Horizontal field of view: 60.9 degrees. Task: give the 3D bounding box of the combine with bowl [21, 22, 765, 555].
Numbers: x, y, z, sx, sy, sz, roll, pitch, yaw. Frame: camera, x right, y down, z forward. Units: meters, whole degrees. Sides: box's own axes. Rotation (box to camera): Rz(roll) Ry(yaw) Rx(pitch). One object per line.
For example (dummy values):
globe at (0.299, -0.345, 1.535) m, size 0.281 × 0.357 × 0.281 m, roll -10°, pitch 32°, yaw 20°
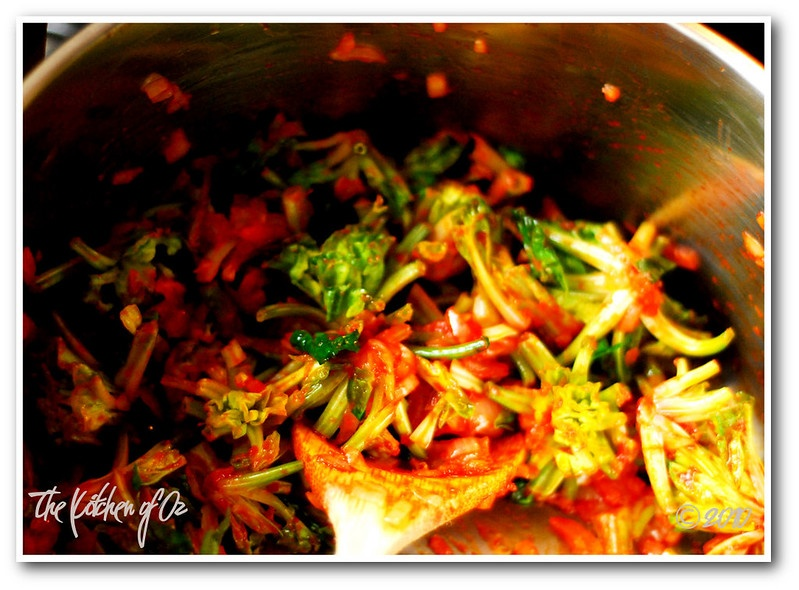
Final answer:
combine with bowl at (-0.010, -0.006, 0.993) m, size 1.065 × 0.750 × 0.427 m, roll -3°, pitch 28°, yaw 1°
